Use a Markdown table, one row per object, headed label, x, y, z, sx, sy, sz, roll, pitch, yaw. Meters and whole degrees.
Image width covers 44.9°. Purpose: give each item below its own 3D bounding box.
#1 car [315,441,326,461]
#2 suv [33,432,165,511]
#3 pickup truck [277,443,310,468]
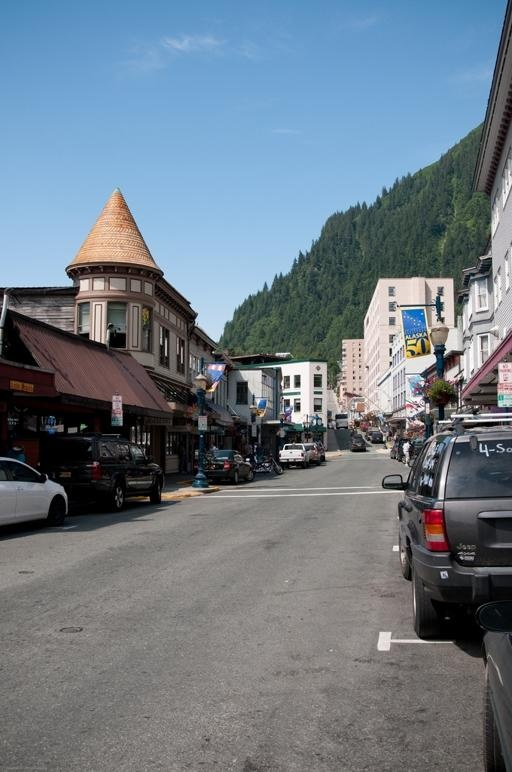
| label | x | y | z | sx | sy | sz | roll | pitch | yaw |
| --- | --- | --- | --- | --- | --- | --- | --- | --- | --- |
| car | 6.202 | 6.171 | 58.954 | 1.267 | 1.721 | 2.952 | 0 | 9 | 8 |
| suv | -4.331 | 2.516 | 18.384 | 1.620 | 1.917 | 3.714 | -2 | -3 | 20 |
| pickup truck | 2.987 | 5.481 | 48.663 | 1.474 | 1.733 | 3.670 | -1 | -8 | 5 |
